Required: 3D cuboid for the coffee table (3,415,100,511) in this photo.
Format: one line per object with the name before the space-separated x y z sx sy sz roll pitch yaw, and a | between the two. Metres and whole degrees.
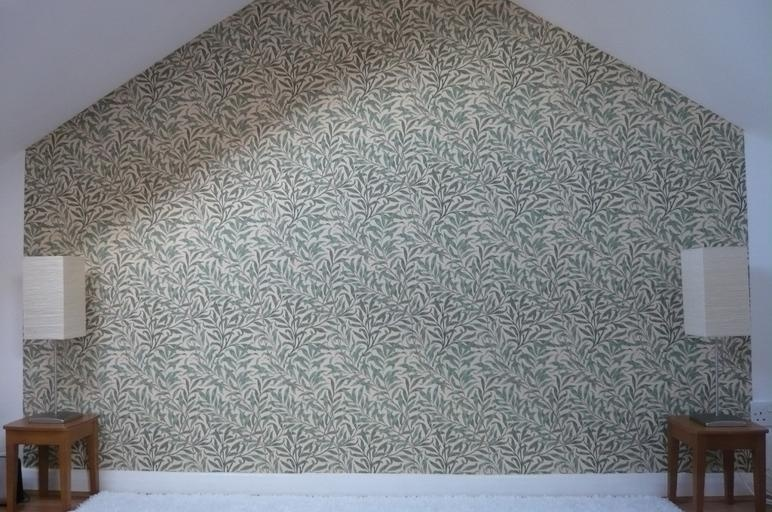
coffee table | -2.512 1.558 5.762 0.666 0.687 0.455 -3 -11 -9
